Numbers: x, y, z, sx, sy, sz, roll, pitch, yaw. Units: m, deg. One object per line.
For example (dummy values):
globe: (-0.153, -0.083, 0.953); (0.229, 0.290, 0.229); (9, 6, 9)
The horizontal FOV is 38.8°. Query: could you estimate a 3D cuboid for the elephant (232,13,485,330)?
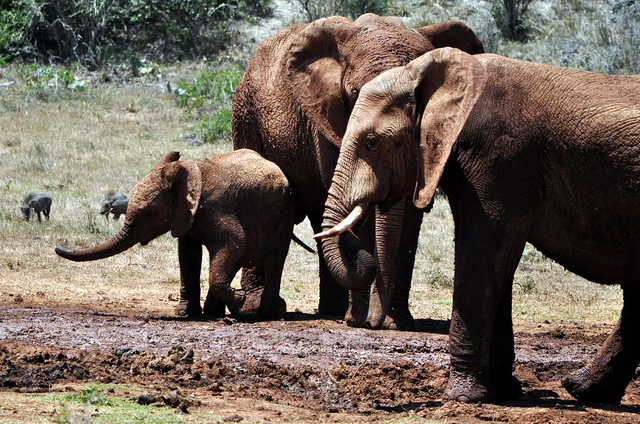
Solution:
elephant: (1.037, -0.827, 13.879); (3.086, 4.419, 5.669); (6, 18, -5)
